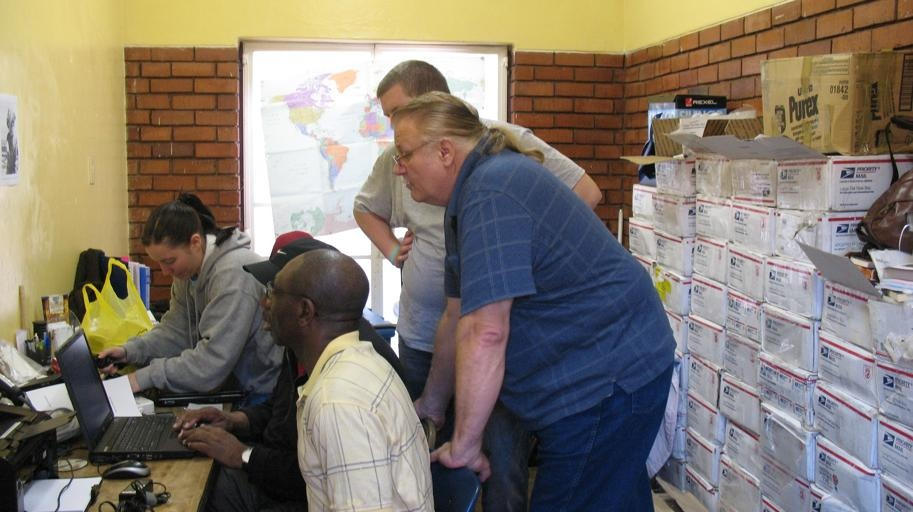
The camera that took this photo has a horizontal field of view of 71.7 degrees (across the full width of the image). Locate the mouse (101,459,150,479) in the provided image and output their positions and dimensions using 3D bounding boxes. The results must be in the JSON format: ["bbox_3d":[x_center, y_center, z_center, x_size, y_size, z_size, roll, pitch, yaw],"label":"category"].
[{"bbox_3d":[-1.474,0.944,2.805,0.157,0.048,0.090,-4,5,-3],"label":"mouse"}]

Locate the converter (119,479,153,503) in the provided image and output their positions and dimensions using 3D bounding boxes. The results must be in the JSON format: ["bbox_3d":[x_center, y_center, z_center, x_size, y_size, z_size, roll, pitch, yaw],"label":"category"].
[{"bbox_3d":[-1.357,1.008,2.720,0.141,0.063,0.137,-3,9,0],"label":"converter"}]

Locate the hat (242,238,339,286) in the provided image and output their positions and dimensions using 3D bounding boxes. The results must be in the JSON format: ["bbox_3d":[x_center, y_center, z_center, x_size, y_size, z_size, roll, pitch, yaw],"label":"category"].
[{"bbox_3d":[-0.864,0.033,3.517,0.579,0.253,0.351,10,-12,-2],"label":"hat"}]

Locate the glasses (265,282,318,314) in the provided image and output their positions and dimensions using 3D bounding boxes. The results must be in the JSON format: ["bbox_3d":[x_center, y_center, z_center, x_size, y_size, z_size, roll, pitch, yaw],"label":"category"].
[{"bbox_3d":[-0.705,0.152,2.679,0.163,0.047,0.152,15,4,-7],"label":"glasses"}]

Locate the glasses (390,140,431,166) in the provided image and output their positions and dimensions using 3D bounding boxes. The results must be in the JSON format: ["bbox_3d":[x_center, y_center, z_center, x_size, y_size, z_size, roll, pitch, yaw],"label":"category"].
[{"bbox_3d":[-0.194,-0.453,2.728,0.129,0.036,0.121,-29,5,0],"label":"glasses"}]
